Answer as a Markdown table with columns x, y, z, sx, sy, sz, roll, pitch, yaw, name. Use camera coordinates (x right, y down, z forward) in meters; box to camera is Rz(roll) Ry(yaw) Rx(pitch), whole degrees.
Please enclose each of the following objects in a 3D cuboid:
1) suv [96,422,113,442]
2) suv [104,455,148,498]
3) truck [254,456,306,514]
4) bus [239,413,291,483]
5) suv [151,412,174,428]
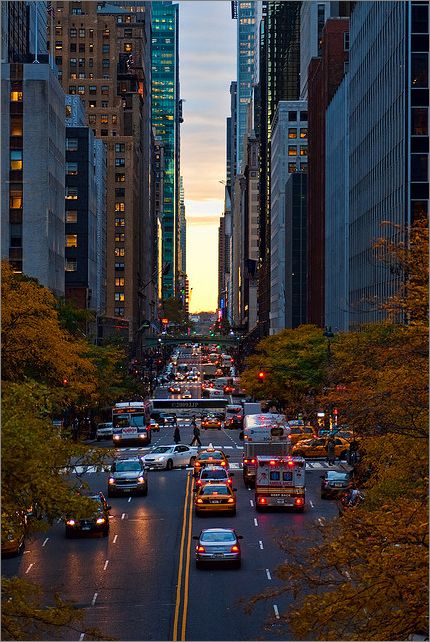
| x | y | z | sx | sy | sz | roll | pitch | yaw | name |
| --- | --- | --- | --- | --- | --- | --- | --- | --- | --- |
| -8.284 | 8.368 | 73.346 | 0.908 | 1.192 | 2.311 | -1 | -7 | -5 | suv |
| -3.491 | 6.263 | 38.694 | 1.520 | 1.493 | 1.718 | -2 | -8 | -2 | suv |
| 2.227 | 5.798 | 34.197 | 1.662 | 1.872 | 0.769 | -2 | -6 | -1 | truck |
| 2.033 | 5.211 | 41.296 | 1.329 | 1.891 | 3.043 | 0 | 3 | 0 | bus |
| -4.883 | 9.678 | 95.864 | 1.759 | 1.232 | 1.258 | -6 | 2 | 13 | suv |
